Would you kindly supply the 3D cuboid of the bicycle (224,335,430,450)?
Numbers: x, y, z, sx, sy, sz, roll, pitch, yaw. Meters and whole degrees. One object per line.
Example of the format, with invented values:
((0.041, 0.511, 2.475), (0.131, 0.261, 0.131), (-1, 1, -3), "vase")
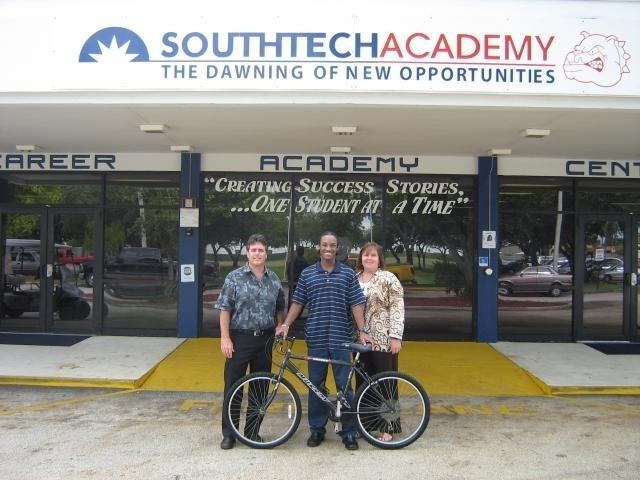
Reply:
((0.083, 1.929, 9.502), (2.793, 1.502, 1.130), (2, -6, -1), "bicycle")

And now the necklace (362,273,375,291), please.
((0.576, 0.511, 9.236), (0.140, 0.192, 0.167), (-4, 12, -19), "necklace")

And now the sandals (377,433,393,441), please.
((0.779, 2.372, 8.975), (0.198, 0.091, 0.068), (5, -21, 1), "sandals")

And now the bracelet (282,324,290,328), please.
((-0.410, 1.024, 8.856), (0.060, 0.040, 0.062), (-8, -48, 32), "bracelet")
